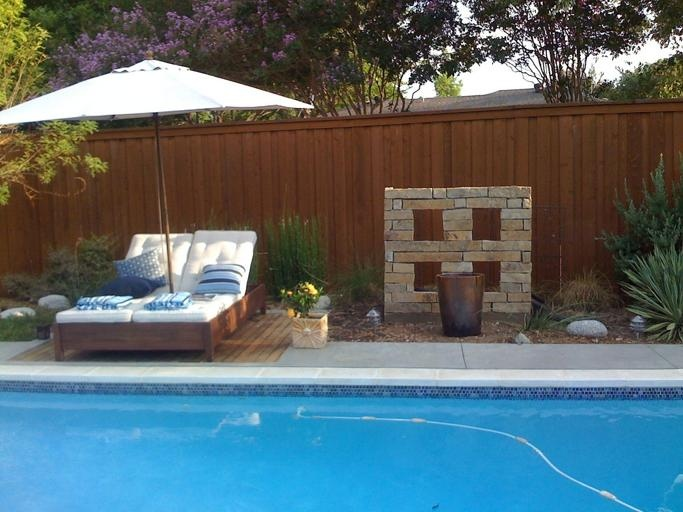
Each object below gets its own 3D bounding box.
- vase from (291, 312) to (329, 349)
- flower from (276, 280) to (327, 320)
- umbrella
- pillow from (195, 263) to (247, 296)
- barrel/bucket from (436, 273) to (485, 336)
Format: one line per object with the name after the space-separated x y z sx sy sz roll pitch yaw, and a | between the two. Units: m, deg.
-0.351 0.828 7.652 0.343 0.323 0.355 0 1 1 | vase
-0.482 0.485 7.763 0.408 0.407 0.418 0 14 -17 | flower
-1.969 -0.607 8.516 2.987 2.053 2.881 -3 4 1 | umbrella
-1.446 0.301 8.076 0.379 0.135 0.431 0 43 9 | pillow
1.375 0.546 7.956 0.586 0.681 0.586 -1 6 0 | barrel/bucket
